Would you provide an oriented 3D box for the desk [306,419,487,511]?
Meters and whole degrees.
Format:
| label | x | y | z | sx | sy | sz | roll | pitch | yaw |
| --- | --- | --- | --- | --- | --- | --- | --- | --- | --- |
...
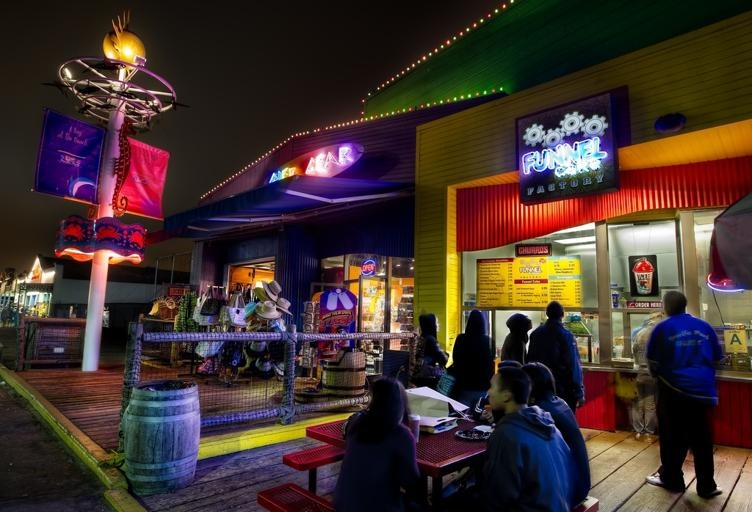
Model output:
| label | x | y | z | sx | sy | sz | roll | pitch | yaw |
| --- | --- | --- | --- | --- | --- | --- | --- | --- | --- |
| desk | 0.453 | 2.164 | 5.613 | 1.332 | 0.776 | 1.283 | 10 | -12 | -34 |

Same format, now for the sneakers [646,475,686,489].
| label | x | y | z | sx | sy | sz | roll | pitch | yaw |
| --- | --- | --- | --- | --- | --- | --- | --- | --- | --- |
| sneakers | 4.138 | 3.190 | 7.084 | 0.388 | 0.153 | 0.146 | 11 | -1 | 38 |

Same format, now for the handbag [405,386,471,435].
| label | x | y | z | sx | sy | sz | roll | pitch | yaw |
| --- | --- | --- | --- | --- | --- | --- | --- | --- | --- |
| handbag | 0.678 | 1.843 | 6.114 | 0.596 | 0.212 | 0.590 | 2 | 1 | 43 |

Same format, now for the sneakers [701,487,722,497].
| label | x | y | z | sx | sy | sz | roll | pitch | yaw |
| --- | --- | --- | --- | --- | --- | --- | --- | --- | --- |
| sneakers | 4.702 | 3.284 | 6.963 | 0.260 | 0.067 | 0.150 | -10 | -5 | -14 |

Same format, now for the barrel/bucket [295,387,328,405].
| label | x | y | z | sx | sy | sz | roll | pitch | yaw |
| --- | --- | --- | --- | --- | --- | --- | --- | --- | --- |
| barrel/bucket | -1.158 | 2.442 | 8.799 | 0.519 | 0.243 | 0.584 | 4 | -8 | -20 |

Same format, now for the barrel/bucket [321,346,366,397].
| label | x | y | z | sx | sy | sz | roll | pitch | yaw |
| --- | --- | --- | --- | --- | --- | --- | --- | --- | --- |
| barrel/bucket | -0.566 | 2.031 | 8.971 | 0.770 | 0.730 | 0.788 | 3 | -7 | 0 |

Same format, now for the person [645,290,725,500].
| label | x | y | z | sx | sy | sz | roll | pitch | yaw |
| --- | --- | --- | --- | --- | --- | --- | --- | --- | --- |
| person | 4.390 | 1.915 | 7.116 | 0.966 | 2.850 | 0.453 | -3 | -9 | 26 |
